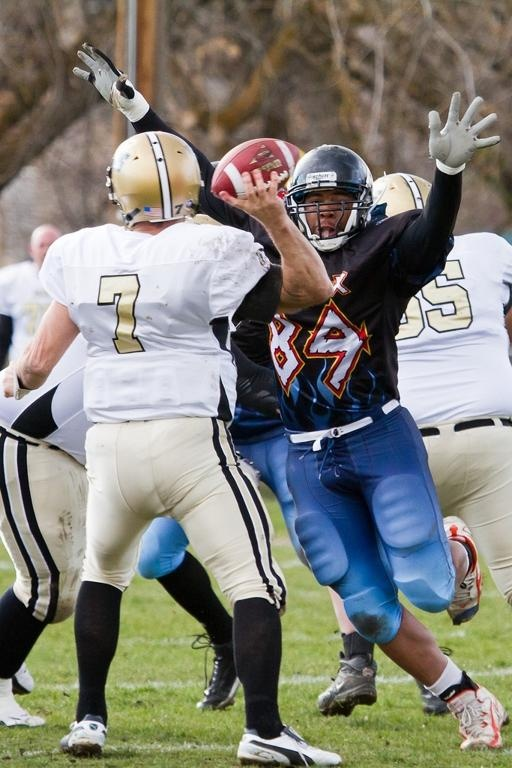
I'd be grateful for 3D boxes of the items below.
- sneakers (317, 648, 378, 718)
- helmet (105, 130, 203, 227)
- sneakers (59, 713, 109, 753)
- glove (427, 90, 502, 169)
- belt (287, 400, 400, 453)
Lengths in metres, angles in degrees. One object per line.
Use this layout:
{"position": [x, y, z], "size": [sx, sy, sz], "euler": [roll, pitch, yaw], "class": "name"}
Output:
{"position": [0.307, 1.004, 3.272], "size": [0.103, 0.228, 0.179], "euler": [22, 39, -32], "class": "sneakers"}
{"position": [-0.258, -0.543, 2.575], "size": [0.233, 0.212, 0.263], "euler": [-4, 35, -6], "class": "helmet"}
{"position": [-0.451, 0.912, 2.548], "size": [0.079, 0.144, 0.064], "euler": [11, 74, -12], "class": "sneakers"}
{"position": [0.518, -0.648, 2.493], "size": [0.173, 0.202, 0.266], "euler": [8, 33, 0], "class": "glove"}
{"position": [0.259, 0.141, 2.919], "size": [0.226, 0.192, 0.051], "euler": [-11, 83, -33], "class": "belt"}
